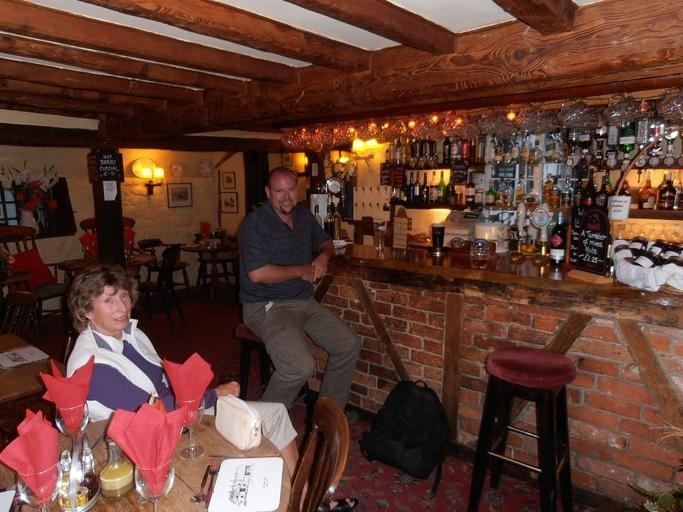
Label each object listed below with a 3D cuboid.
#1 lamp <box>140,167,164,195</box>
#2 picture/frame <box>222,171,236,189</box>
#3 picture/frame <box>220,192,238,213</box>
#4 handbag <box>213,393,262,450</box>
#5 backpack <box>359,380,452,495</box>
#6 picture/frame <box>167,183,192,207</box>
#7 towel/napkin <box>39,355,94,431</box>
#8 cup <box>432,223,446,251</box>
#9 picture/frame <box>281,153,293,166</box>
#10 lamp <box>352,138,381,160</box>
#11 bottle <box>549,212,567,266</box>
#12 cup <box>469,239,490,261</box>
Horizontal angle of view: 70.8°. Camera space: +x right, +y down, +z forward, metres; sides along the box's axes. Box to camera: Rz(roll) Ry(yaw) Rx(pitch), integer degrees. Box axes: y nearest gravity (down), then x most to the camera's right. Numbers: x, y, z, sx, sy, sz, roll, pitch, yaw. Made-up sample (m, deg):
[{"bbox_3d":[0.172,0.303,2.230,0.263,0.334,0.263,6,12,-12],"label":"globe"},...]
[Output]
[{"bbox_3d":[-3.092,-1.255,7.843,0.182,0.520,0.459,7,9,33],"label":"lamp"},{"bbox_3d":[-2.056,-1.423,8.845,0.338,0.325,0.033,5,10,33],"label":"picture/frame"},{"bbox_3d":[-2.064,-1.013,8.902,0.413,0.368,0.045,3,10,30],"label":"picture/frame"},{"bbox_3d":[-0.501,0.797,2.276,0.074,0.135,0.204,-8,15,-43],"label":"handbag"},{"bbox_3d":[0.450,1.243,3.405,0.589,0.610,0.332,6,15,31],"label":"backpack"},{"bbox_3d":[-2.824,-1.076,8.350,0.018,0.339,0.475,3,6,28],"label":"picture/frame"},{"bbox_3d":[-1.167,0.601,2.074,0.202,0.324,0.272,-6,13,-19],"label":"towel/napkin"},{"bbox_3d":[0.808,-0.164,4.068,0.097,0.220,0.172,0,13,9],"label":"cup"},{"bbox_3d":[-1.029,-1.859,9.156,0.065,0.451,0.408,-1,11,-27],"label":"picture/frame"},{"bbox_3d":[0.386,-1.651,7.333,0.516,0.339,0.235,7,11,39],"label":"lamp"},{"bbox_3d":[1.580,-0.091,3.524,0.105,0.280,0.232,4,14,23],"label":"bottle"},{"bbox_3d":[1.075,-0.049,3.765,0.160,0.159,0.155,0,7,0],"label":"cup"}]
